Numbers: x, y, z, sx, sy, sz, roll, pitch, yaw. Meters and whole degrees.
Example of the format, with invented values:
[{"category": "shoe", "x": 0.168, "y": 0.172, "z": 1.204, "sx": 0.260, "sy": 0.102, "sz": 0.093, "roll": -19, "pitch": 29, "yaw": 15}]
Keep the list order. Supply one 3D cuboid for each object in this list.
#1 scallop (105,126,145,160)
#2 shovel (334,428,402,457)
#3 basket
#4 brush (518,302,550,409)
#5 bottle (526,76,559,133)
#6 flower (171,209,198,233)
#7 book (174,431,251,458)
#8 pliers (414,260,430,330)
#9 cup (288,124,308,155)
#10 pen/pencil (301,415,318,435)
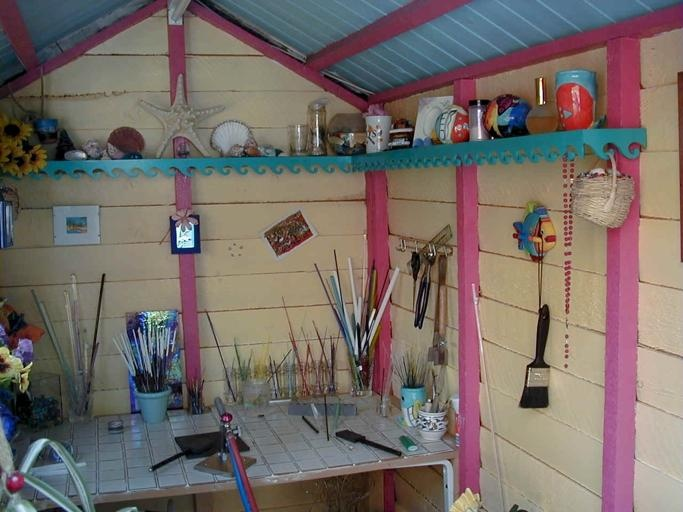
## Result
[{"category": "scallop", "x": -1.027, "y": -0.538, "z": 2.790, "sx": 0.171, "sy": 0.129, "sz": 0.152, "roll": -5, "pitch": 3, "yaw": -21}, {"category": "shovel", "x": 0.129, "y": 0.769, "z": 2.531, "sx": 0.154, "sy": 0.065, "sz": 0.331, "roll": -3, "pitch": 3, "yaw": -45}, {"category": "basket", "x": 0.701, "y": -0.179, "z": 1.586, "sx": 0.157, "sy": 0.203, "sz": 0.085, "roll": -2, "pitch": 3, "yaw": 29}, {"category": "brush", "x": 0.643, "y": 0.336, "z": 1.955, "sx": 0.109, "sy": 0.336, "sz": 0.028, "roll": -4, "pitch": 2, "yaw": -12}, {"category": "bottle", "x": 0.625, "y": -0.464, "z": 1.816, "sx": 0.097, "sy": 0.167, "sz": 0.120, "roll": -4, "pitch": 3, "yaw": -10}, {"category": "flower", "x": -0.770, "y": -0.183, "z": 2.874, "sx": 0.119, "sy": 0.074, "sz": 0.077, "roll": -6, "pitch": 4, "yaw": -36}, {"category": "book", "x": -0.596, "y": 0.801, "z": 2.500, "sx": 0.242, "sy": 0.067, "sz": 0.269, "roll": 2, "pitch": 5, "yaw": -1}, {"category": "pliers", "x": 0.368, "y": 0.184, "z": 2.635, "sx": 0.022, "sy": 0.294, "sz": 0.059, "roll": 5, "pitch": 5, "yaw": -36}, {"category": "cup", "x": -0.212, "y": -0.556, "z": 2.830, "sx": 0.085, "sy": 0.138, "sz": 0.052, "roll": -4, "pitch": 3, "yaw": -10}, {"category": "pen/pencil", "x": -0.150, "y": 0.763, "z": 2.744, "sx": 0.027, "sy": 0.029, "sz": 0.191, "roll": -8, "pitch": 19, "yaw": -15}]
